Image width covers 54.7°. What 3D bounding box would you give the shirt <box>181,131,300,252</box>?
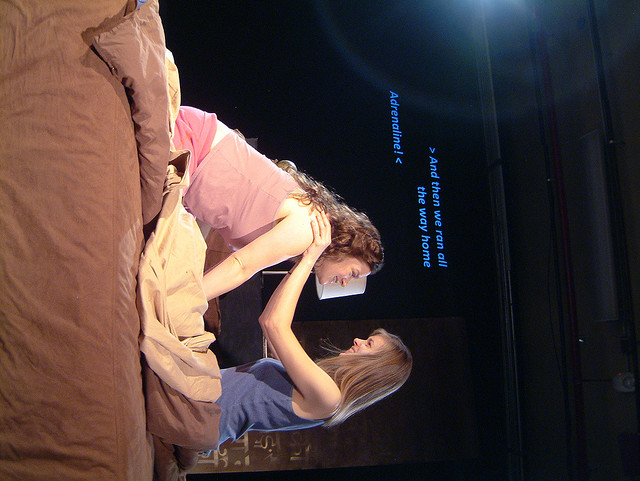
[{"bbox_3d":[-0.319,-0.168,2.379,0.374,0.315,0.228,24,11,1],"label":"shirt"}]

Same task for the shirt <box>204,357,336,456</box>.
[{"bbox_3d":[-0.237,0.614,2.697,0.599,0.409,0.477,-4,-4,-8],"label":"shirt"}]
